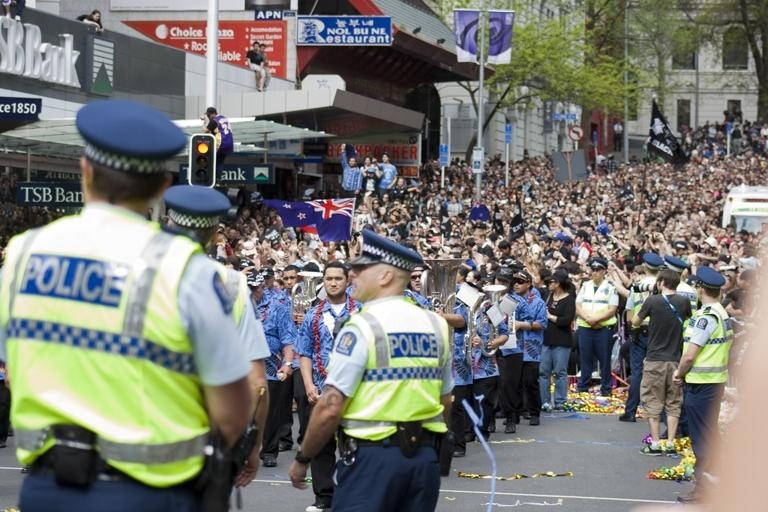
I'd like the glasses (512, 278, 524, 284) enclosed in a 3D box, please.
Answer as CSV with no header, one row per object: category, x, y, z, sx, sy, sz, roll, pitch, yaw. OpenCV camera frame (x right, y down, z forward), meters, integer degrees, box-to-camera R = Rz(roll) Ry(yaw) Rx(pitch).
glasses,2.558,0.494,26.337,0.124,0.127,0.042,4,4,27

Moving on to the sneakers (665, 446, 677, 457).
sneakers,4.945,3.374,24.111,0.208,0.204,0.132,-4,10,-9

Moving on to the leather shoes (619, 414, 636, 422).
leather shoes,4.660,3.110,26.750,0.295,0.134,0.130,8,7,26

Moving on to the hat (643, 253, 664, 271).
hat,5.047,0.124,26.174,0.353,0.301,0.356,3,3,10

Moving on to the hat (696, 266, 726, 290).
hat,5.241,0.354,22.362,0.426,0.336,0.314,4,3,22

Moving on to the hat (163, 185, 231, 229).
hat,-2.358,-0.627,17.712,0.626,0.323,0.599,5,11,8

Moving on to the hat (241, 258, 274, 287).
hat,-2.118,0.294,23.412,0.609,0.453,0.999,2,0,1

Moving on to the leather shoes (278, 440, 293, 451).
leather shoes,-1.667,3.290,24.124,0.260,0.177,0.159,1,4,-31

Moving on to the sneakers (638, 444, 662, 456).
sneakers,4.614,3.351,24.136,0.402,0.186,0.151,3,4,12

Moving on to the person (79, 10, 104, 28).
person,-7.311,-5.864,34.766,0.629,0.512,1.119,2,3,-12

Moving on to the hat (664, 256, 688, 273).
hat,5.296,0.189,25.223,0.378,0.132,0.320,0,21,-40

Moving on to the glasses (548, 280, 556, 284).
glasses,3.317,0.513,27.479,0.170,0.099,0.063,6,4,43

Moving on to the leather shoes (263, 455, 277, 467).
leather shoes,-1.893,3.392,23.102,0.160,0.142,0.356,1,-8,-3

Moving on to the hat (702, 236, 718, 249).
hat,8.375,-0.300,35.544,0.387,0.201,0.268,28,9,-10

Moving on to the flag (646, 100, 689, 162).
flag,8.494,-3.881,42.447,1.135,2.636,0.314,-1,-37,4

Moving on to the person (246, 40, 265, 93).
person,-3.769,-5.589,41.547,0.644,1.433,1.239,2,3,-5
